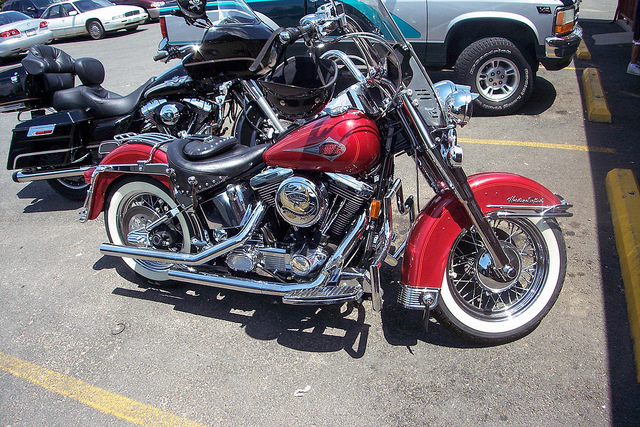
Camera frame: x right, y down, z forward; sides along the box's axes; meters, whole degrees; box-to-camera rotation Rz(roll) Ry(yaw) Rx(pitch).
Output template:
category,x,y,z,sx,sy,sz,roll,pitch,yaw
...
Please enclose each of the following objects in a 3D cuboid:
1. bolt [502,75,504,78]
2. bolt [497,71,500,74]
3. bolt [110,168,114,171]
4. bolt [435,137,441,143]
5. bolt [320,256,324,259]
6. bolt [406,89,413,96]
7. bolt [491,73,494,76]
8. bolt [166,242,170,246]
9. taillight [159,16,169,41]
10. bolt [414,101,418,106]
category,x,y,z,sx,sy,sz,roll,pitch,yaw
bolt,2.982,-2.231,7.413,0.037,0.038,0.012,4,2,32
bolt,2.907,-2.294,7.398,0.031,0.032,0.008,10,1,3
bolt,-2.063,-0.433,4.475,0.027,0.015,0.026,1,19,-3
bolt,0.966,-0.600,3.725,0.048,0.027,0.043,-5,36,7
bolt,0.012,0.385,3.934,0.034,0.027,0.008,-9,35,0
bolt,0.724,-0.979,3.680,0.038,0.051,0.049,4,-18,6
bolt,2.816,-2.269,7.408,0.036,0.037,0.008,3,4,3
bolt,-1.518,0.297,4.493,0.033,0.033,0.008,-20,-8,2
taillight,-2.565,-3.032,7.421,0.098,0.387,0.376,-8,1,-26
bolt,0.780,-0.899,3.701,0.028,0.025,0.015,-9,35,1
